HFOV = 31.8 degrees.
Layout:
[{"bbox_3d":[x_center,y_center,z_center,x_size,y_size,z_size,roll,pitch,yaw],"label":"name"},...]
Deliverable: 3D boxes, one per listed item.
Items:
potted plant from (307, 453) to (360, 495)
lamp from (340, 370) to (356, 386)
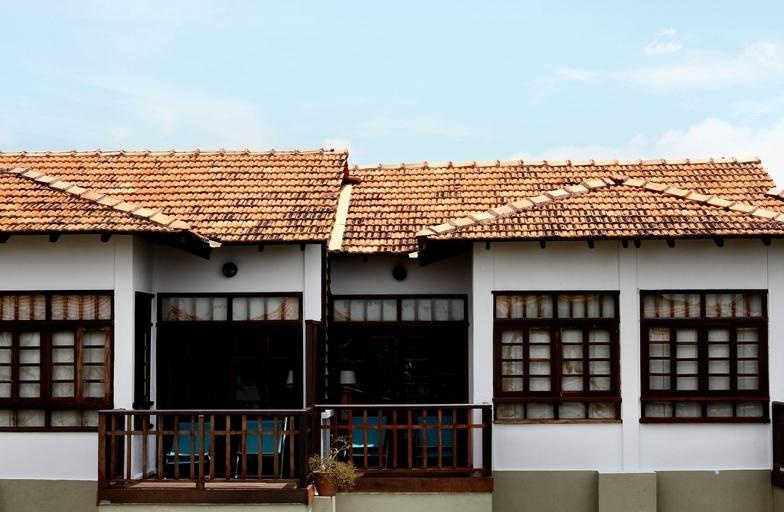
[{"bbox_3d":[-1.248,4.558,28.914,0.851,0.593,0.878,4,-10,7],"label":"potted plant"},{"bbox_3d":[-1.045,2.842,32.154,0.343,0.234,0.336,3,-2,-44],"label":"lamp"}]
